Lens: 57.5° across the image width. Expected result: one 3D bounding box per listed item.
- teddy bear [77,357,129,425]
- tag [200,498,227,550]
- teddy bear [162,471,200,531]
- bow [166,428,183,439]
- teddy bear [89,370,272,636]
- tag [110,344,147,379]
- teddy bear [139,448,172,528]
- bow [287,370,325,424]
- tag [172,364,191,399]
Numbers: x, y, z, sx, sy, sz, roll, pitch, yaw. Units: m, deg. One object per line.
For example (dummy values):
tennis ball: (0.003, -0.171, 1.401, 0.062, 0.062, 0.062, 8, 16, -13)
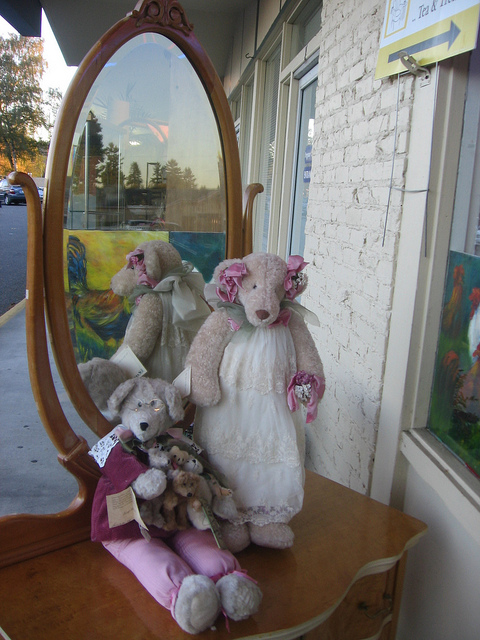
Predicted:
teddy bear: (-0.245, 0.120, 0.774, 0.079, 0.112, 0.105, -12, -11, 28)
tag: (-0.047, 0.314, 0.716, 0.028, 0.011, 0.111, 29, 22, -38)
teddy bear: (-0.092, 0.286, 0.687, 0.057, 0.102, 0.052, 6, 1, -19)
bow: (-0.109, 0.193, 0.747, 0.017, 0.006, 0.018, 21, 17, 40)
teddy bear: (-0.052, 0.255, 0.760, 0.206, 0.373, 0.342, -3, 7, -37)
tag: (-0.194, 0.076, 0.782, 0.058, 0.059, 0.014, -44, 22, -26)
teddy bear: (-0.126, 0.253, 0.667, 0.051, 0.107, 0.042, 4, -2, -11)
bow: (0.116, 0.132, 0.766, 0.061, 0.081, 0.053, 5, 9, 15)
tag: (-0.097, 0.111, 0.775, 0.015, 0.047, 0.064, 13, -27, -23)
